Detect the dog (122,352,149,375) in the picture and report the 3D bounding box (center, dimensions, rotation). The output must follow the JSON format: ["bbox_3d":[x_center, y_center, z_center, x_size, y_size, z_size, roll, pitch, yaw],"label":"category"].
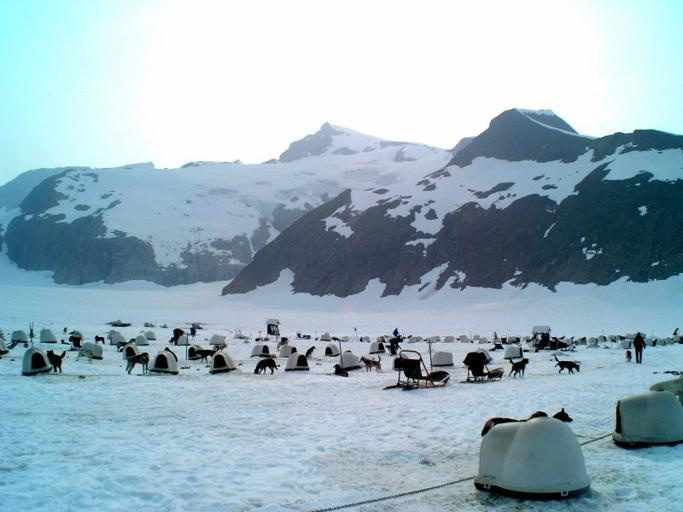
[{"bbox_3d":[-10.461,5.443,29.153,0.896,1.001,1.656,0,1,-11],"label":"dog"}]

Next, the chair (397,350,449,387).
[{"bbox_3d":[3.636,5.602,27.382,2.025,1.838,3.012,-3,-6,36],"label":"chair"}]

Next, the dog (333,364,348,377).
[{"bbox_3d":[-0.100,6.157,30.711,0.700,1.157,0.496,-2,9,7],"label":"dog"}]

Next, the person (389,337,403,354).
[{"bbox_3d":[3.652,6.037,39.658,0.757,0.888,1.521,3,6,25],"label":"person"}]

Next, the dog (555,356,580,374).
[{"bbox_3d":[11.561,5.590,29.220,0.955,0.730,1.841,0,1,16],"label":"dog"}]

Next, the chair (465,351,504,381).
[{"bbox_3d":[6.877,5.395,27.889,1.392,1.343,1.929,-2,-3,41],"label":"chair"}]

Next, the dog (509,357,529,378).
[{"bbox_3d":[8.907,5.570,28.839,0.773,0.960,1.854,0,1,17],"label":"dog"}]

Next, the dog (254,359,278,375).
[{"bbox_3d":[-4.204,5.887,30.974,1.180,0.871,1.436,0,1,-10],"label":"dog"}]

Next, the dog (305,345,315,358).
[{"bbox_3d":[-2.195,6.464,38.930,0.361,0.677,0.970,25,9,12],"label":"dog"}]
